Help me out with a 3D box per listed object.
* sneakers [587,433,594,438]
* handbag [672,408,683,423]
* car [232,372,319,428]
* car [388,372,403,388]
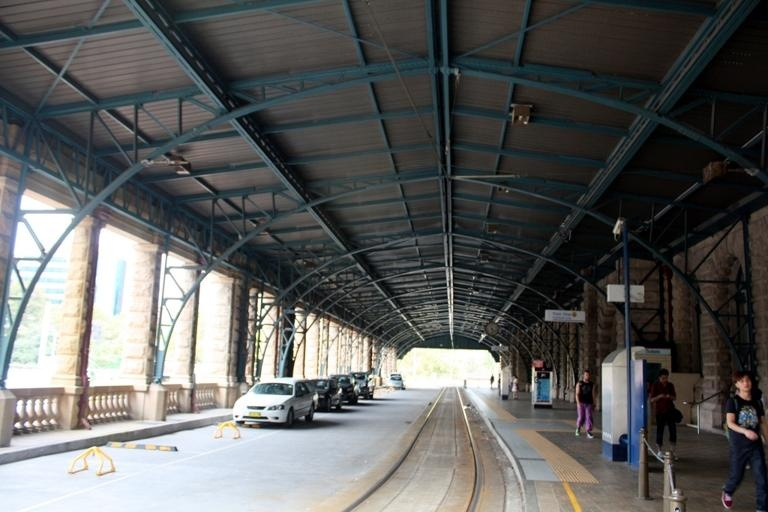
[{"bbox_3d":[6.762,5.912,19.429,0.213,0.184,0.476,-2,-27,8],"label":"sneakers"},{"bbox_3d":[8.060,4.359,16.211,0.165,0.338,1.723,-8,-17,26],"label":"handbag"},{"bbox_3d":[-4.081,5.546,22.742,1.711,1.819,3.575,-4,-15,14],"label":"car"},{"bbox_3d":[1.568,14.200,67.119,1.276,1.937,4.091,1,-15,-4],"label":"car"}]
